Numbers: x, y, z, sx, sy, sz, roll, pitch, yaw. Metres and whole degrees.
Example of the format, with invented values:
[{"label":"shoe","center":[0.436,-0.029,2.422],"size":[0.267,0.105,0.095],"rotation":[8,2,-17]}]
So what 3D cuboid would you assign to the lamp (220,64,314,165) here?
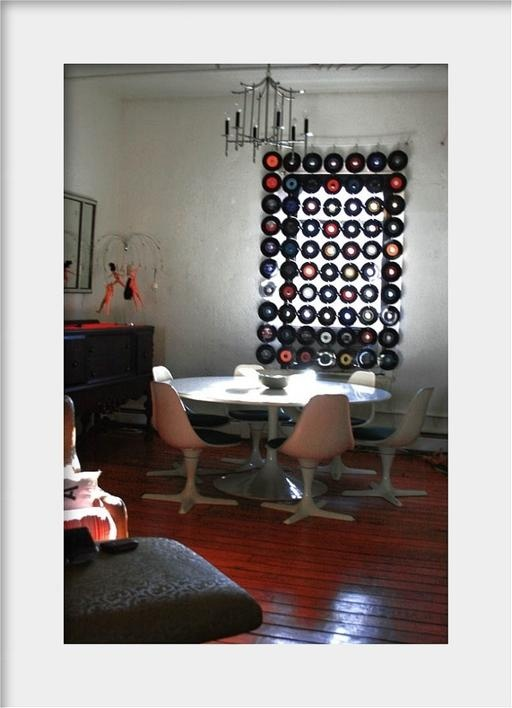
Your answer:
[{"label":"lamp","center":[0.033,-0.677,1.767],"size":[0.205,0.234,0.197],"rotation":[-3,19,-11]}]

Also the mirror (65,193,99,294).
[{"label":"mirror","center":[-0.470,-0.291,1.685],"size":[0.094,0.274,0.333],"rotation":[-2,10,-15]}]
